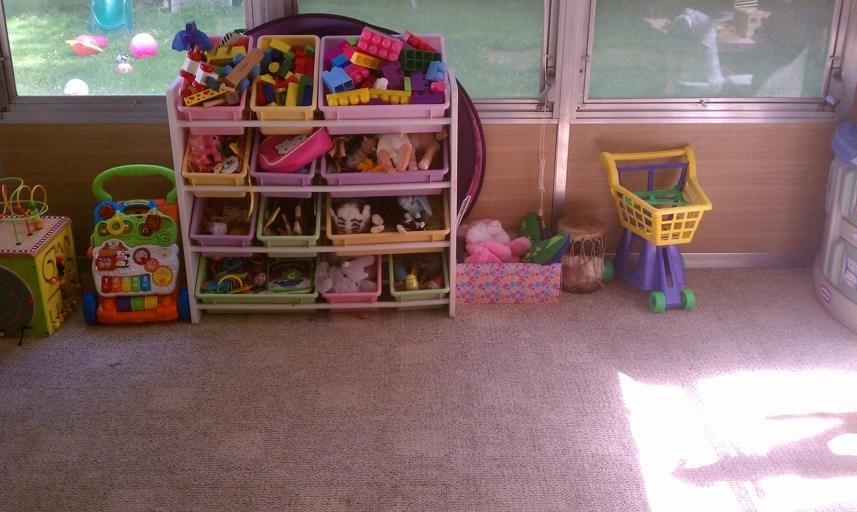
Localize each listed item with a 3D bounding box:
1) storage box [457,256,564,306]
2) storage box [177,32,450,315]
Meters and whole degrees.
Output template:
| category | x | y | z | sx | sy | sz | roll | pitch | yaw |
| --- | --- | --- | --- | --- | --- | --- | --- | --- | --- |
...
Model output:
| category | x | y | z | sx | sy | sz | roll | pitch | yaw |
| --- | --- | --- | --- | --- | --- | --- | --- | --- | --- |
| storage box | 0.552 | 0.196 | 4.450 | 0.532 | 0.184 | 0.361 | 1 | 22 | 3 |
| storage box | -0.775 | -0.582 | 4.125 | 2.228 | 1.777 | 0.737 | 0 | -2 | 0 |
